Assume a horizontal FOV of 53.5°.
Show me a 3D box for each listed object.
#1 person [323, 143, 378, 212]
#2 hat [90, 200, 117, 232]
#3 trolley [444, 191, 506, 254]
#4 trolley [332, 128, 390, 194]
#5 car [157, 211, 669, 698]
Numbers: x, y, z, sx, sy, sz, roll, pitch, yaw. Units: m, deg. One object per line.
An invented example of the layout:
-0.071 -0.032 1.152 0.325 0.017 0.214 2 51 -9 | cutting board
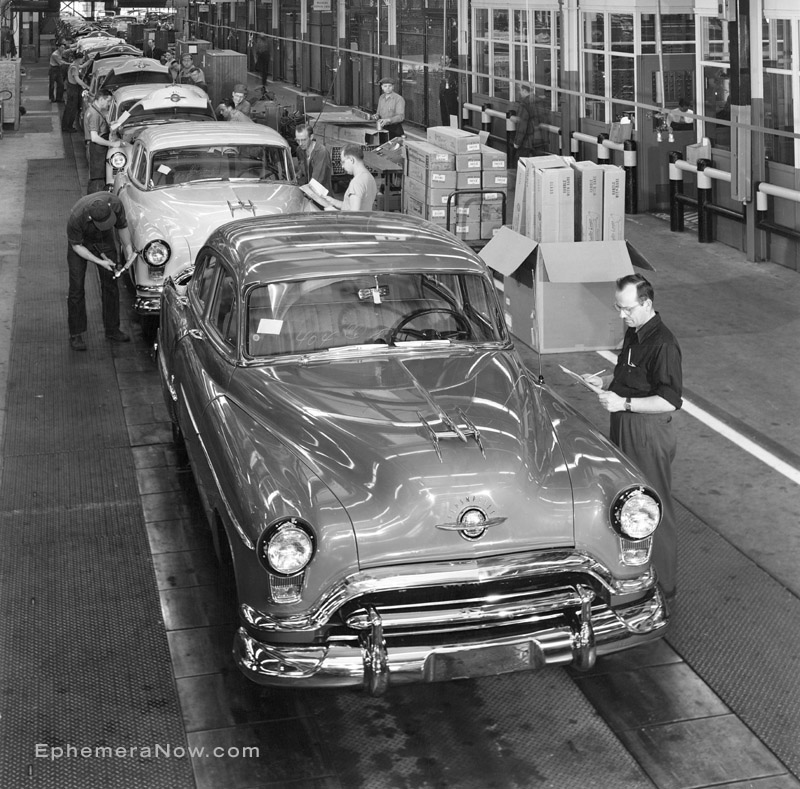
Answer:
-0.559 -2.672 9.785 0.333 0.744 0.861 2 14 10 | person
-3.378 -2.021 8.964 0.267 0.342 0.375 -5 14 -16 | hat
1.054 -2.532 11.668 0.873 0.869 0.890 -5 24 -13 | trolley
-0.715 -5.273 17.253 1.513 1.404 0.820 3 -22 3 | trolley
-0.101 0.082 4.076 1.841 1.729 2.772 -6 15 -21 | car
